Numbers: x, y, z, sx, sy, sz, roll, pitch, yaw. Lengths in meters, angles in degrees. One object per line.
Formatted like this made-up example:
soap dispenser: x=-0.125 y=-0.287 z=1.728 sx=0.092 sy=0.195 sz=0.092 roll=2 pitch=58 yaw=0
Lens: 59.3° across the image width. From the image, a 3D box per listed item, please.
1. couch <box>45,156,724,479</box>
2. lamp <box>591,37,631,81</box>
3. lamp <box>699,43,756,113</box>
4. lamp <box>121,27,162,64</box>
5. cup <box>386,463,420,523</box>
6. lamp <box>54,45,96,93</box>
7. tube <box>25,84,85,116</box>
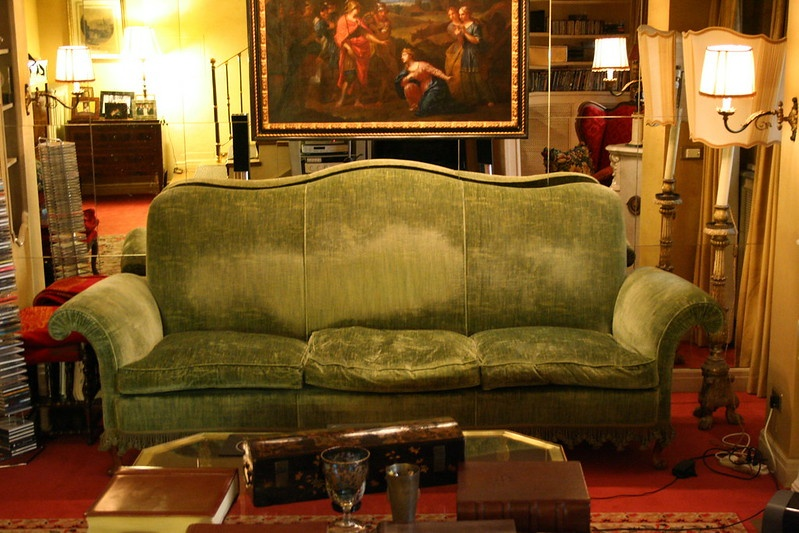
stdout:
couch: x=-0.033 y=0.261 z=3.751 sx=3.233 sy=1.428 sz=1.082 roll=-1 pitch=16 yaw=-3
lamp: x=1.196 y=-1.225 z=4.124 sx=0.211 sy=0.245 sz=0.206 roll=-19 pitch=29 yaw=-32
lamp: x=1.706 y=-0.933 z=3.612 sx=0.243 sy=0.310 sz=0.247 roll=11 pitch=17 yaw=34
lamp: x=-1.457 y=-1.279 z=4.072 sx=0.206 sy=0.204 sz=0.186 roll=4 pitch=28 yaw=1
cup: x=0.015 y=0.783 z=2.376 sx=0.111 sy=0.199 sz=0.175 roll=-3 pitch=11 yaw=-3
lamp: x=-1.830 y=-1.126 z=4.022 sx=0.195 sy=0.263 sz=0.214 roll=5 pitch=24 yaw=5
tube: x=-1.976 y=-0.971 z=4.038 sx=0.319 sy=0.156 sz=0.020 roll=-4 pitch=12 yaw=-4
